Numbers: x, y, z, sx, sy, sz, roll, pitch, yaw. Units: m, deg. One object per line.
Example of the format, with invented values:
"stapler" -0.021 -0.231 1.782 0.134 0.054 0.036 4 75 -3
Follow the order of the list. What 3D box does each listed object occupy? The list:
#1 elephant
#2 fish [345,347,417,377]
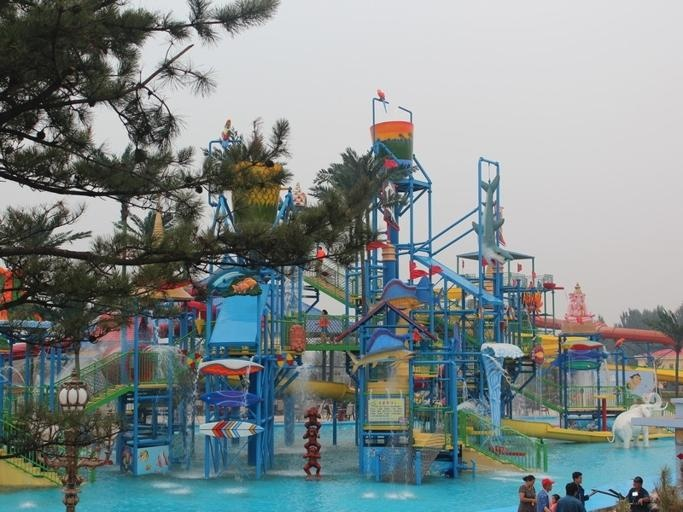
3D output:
"elephant" 9.244 5.143 53.699 1.434 1.955 1.654 -5 -9 -3
"fish" 1.295 2.669 46.104 2.400 1.050 0.646 -4 -18 6
